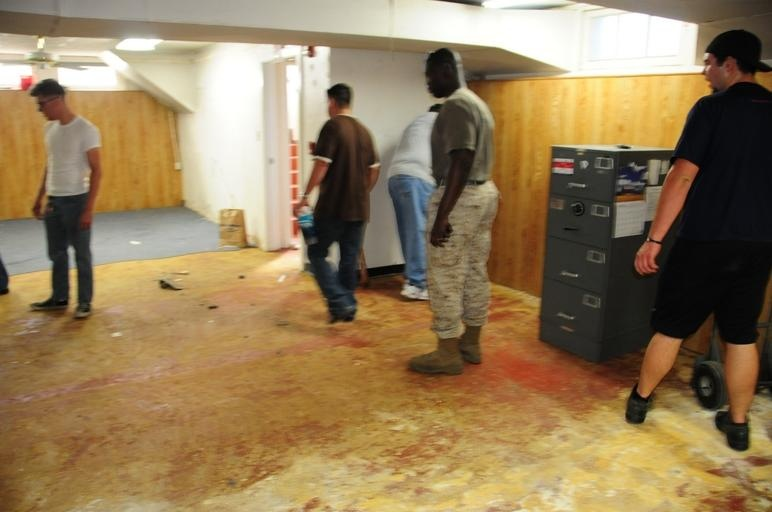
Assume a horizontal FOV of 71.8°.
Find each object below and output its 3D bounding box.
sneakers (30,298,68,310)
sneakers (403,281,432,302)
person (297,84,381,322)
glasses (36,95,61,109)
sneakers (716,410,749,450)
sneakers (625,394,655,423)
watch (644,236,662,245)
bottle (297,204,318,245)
[{"bbox_3d":[-3.552,0.516,5.708,0.404,0.115,0.130,3,-2,-16],"label":"sneakers"},{"bbox_3d":[0.319,0.414,5.951,0.356,0.144,0.150,1,5,-8],"label":"sneakers"},{"bbox_3d":[-0.436,-0.364,5.307,0.516,2.021,0.819,14,26,31],"label":"person"},{"bbox_3d":[-3.259,-1.479,5.135,0.195,0.081,0.136,0,13,24],"label":"glasses"},{"bbox_3d":[2.297,1.157,3.561,0.136,0.121,0.323,-4,16,13],"label":"sneakers"},{"bbox_3d":[1.760,1.067,3.713,0.121,0.101,0.306,4,9,29],"label":"sneakers"},{"bbox_3d":[1.742,-0.108,3.455,0.108,0.025,0.077,15,-11,-12],"label":"watch"},{"bbox_3d":[-0.754,-0.298,5.144,0.154,0.355,0.236,-4,21,-9],"label":"bottle"}]
